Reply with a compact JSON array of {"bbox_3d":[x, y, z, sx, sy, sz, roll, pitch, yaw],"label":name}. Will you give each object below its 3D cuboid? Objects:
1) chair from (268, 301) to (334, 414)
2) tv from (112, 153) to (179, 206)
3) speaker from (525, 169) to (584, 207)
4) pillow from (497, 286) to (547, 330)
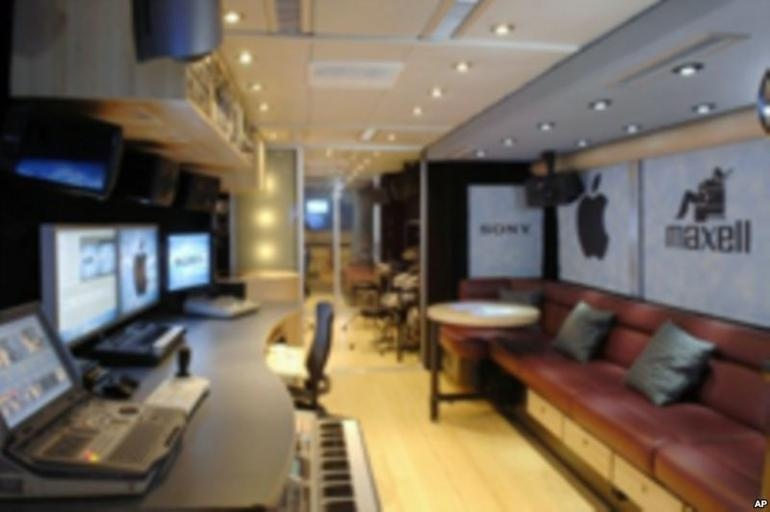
[{"bbox_3d":[-0.587,0.794,3.748,0.404,0.362,0.463,-16,0,21],"label":"chair"},{"bbox_3d":[-1.590,-0.513,3.517,0.269,0.326,0.500,13,-1,12],"label":"tv"},{"bbox_3d":[1.816,-0.768,5.861,0.724,0.376,0.677,-4,4,-11],"label":"speaker"},{"bbox_3d":[1.443,0.513,5.598,0.500,0.343,0.179,0,-29,27],"label":"pillow"}]
